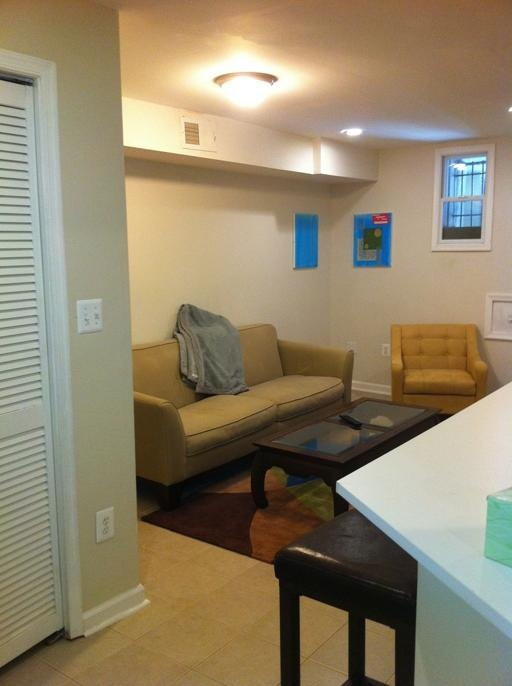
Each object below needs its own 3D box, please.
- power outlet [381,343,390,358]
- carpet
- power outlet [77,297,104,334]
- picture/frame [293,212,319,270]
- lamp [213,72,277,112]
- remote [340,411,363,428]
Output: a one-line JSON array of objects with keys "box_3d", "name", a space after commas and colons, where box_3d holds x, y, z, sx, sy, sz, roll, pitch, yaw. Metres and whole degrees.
[{"box_3d": [1.365, 0.082, 5.393, 0.123, 0.194, 0.018, 3, 5, 43], "name": "power outlet"}, {"box_3d": [-0.081, 0.822, 2.505, 0.535, 0.030, 0.605, 6, 10, 35], "name": "carpet"}, {"box_3d": [-0.582, -0.094, 1.791, 0.012, 0.131, 0.113, 5, 5, 29], "name": "power outlet"}, {"box_3d": [0.491, -1.037, 5.206, 0.036, 0.622, 0.536, 3, 6, 29], "name": "picture/frame"}, {"box_3d": [-0.060, -1.392, 2.819, 0.358, 0.118, 0.285, -1, 6, 3], "name": "lamp"}, {"box_3d": [0.585, 0.465, 3.108, 0.044, 0.048, 0.164, 2, 6, -16], "name": "remote"}]
